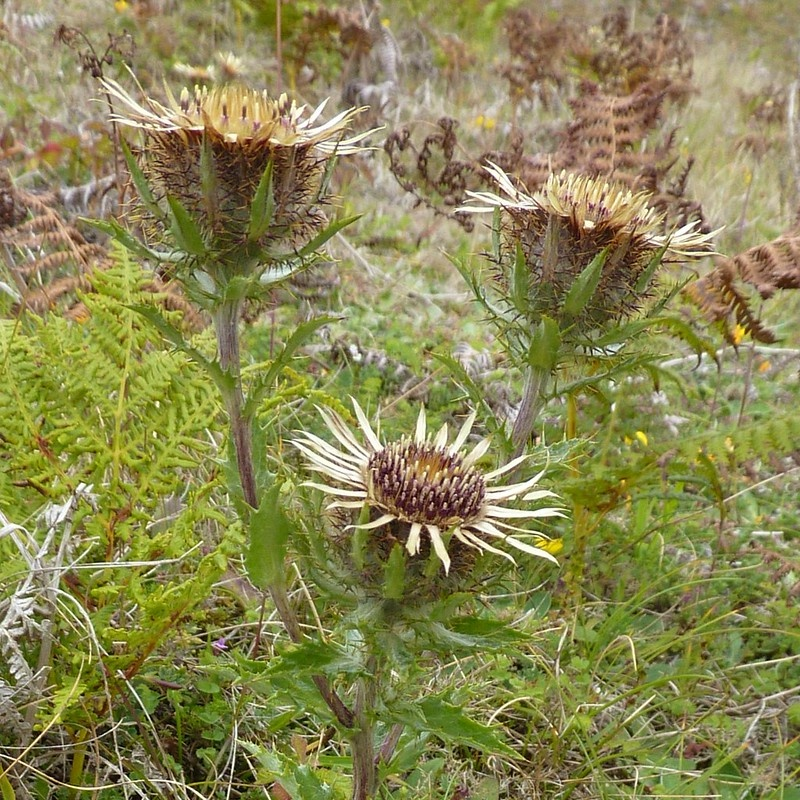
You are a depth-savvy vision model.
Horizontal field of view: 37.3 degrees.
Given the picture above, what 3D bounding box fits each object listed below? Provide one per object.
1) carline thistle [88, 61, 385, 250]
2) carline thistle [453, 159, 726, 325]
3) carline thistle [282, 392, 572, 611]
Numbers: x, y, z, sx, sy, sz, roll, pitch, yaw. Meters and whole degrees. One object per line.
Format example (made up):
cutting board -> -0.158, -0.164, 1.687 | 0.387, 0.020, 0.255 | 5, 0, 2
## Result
carline thistle -> -0.567, -0.878, 4.150 | 0.601, 0.880, 0.870 | -7, 23, -15
carline thistle -> 0.723, -0.493, 4.583 | 0.868, 0.887, 0.566 | 10, 74, -17
carline thistle -> 0.072, 0.354, 3.982 | 0.750, 0.753, 0.397 | 28, 91, -1
